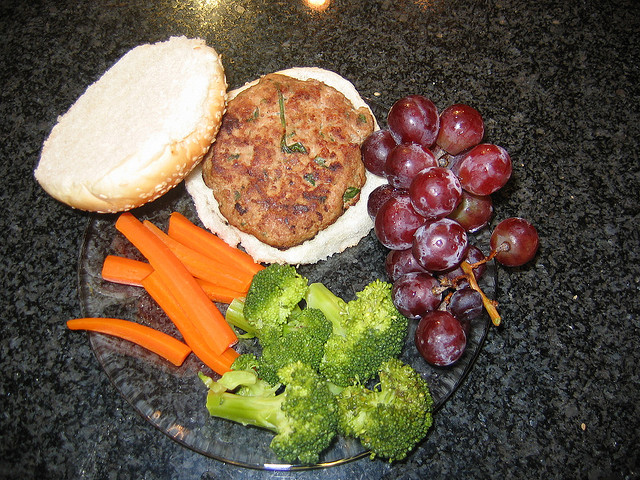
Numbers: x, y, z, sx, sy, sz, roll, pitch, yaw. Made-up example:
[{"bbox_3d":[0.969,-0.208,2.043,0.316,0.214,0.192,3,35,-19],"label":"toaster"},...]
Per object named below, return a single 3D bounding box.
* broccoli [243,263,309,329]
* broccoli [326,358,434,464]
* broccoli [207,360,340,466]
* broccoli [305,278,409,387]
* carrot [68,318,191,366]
[{"bbox_3d":[-0.233,0.246,2.778,0.297,0.294,0.307,-12,34,-18],"label":"broccoli"},{"bbox_3d":[0.294,0.773,2.584,0.402,0.238,0.443,44,80,4],"label":"broccoli"},{"bbox_3d":[-0.192,0.796,2.628,0.496,0.292,0.421,0,56,16],"label":"broccoli"},{"bbox_3d":[0.168,0.399,2.665,0.482,0.267,0.462,41,83,12],"label":"broccoli"},{"bbox_3d":[-0.928,0.460,2.776,0.618,0.088,0.126,19,79,-1],"label":"carrot"}]
